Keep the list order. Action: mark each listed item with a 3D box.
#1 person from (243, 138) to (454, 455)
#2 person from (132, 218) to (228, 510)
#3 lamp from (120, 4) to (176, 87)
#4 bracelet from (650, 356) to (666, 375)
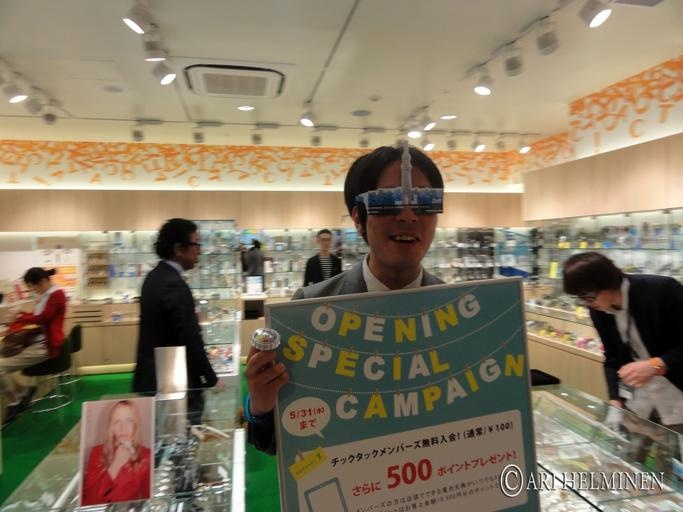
[{"bbox_3d":[0.055,0.192,1.834,0.913,1.289,0.388,0,2,-10],"label":"person"},{"bbox_3d":[-1.101,0.361,2.898,0.568,1.278,1.362,0,2,-25],"label":"person"},{"bbox_3d":[-1.585,-1.774,3.486,0.172,0.159,0.473,22,-18,11],"label":"lamp"},{"bbox_3d":[1.976,0.684,2.674,0.057,0.081,0.098,2,-40,-9],"label":"bracelet"}]
